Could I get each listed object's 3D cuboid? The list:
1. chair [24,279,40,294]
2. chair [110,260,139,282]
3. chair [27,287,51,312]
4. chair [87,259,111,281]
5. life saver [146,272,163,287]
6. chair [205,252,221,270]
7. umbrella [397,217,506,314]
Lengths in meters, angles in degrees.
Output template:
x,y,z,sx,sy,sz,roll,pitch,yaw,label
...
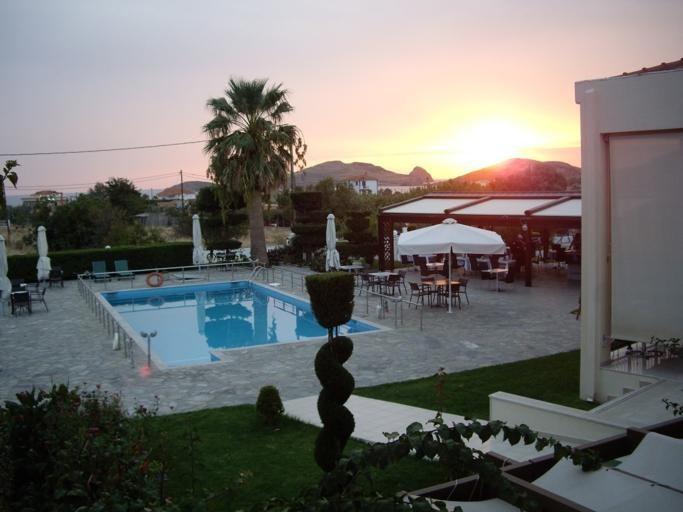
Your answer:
x,y,z,sx,sy,sz,roll,pitch,yaw,label
-13.685,1.322,21.653,0.596,0.841,0.646,1,-3,-15,chair
-11.579,0.668,26.172,0.942,1.182,2.555,-1,1,-28,chair
-12.218,1.736,19.792,0.767,1.162,0.790,1,2,-33,chair
-12.263,0.684,24.778,1.021,1.156,1.904,0,2,-24,chair
-8.836,1.091,23.149,0.625,0.423,1.133,-5,3,-27,life saver
-7.363,0.140,28.342,0.918,0.449,1.309,-6,13,-18,chair
3.708,0.545,17.157,3.086,2.614,3.475,-2,8,7,umbrella
